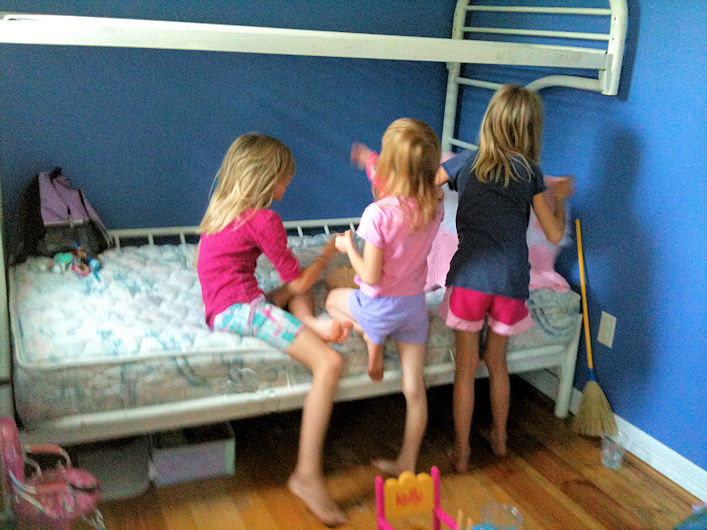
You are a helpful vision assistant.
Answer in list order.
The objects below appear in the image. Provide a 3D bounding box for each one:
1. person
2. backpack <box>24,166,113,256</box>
[{"bbox_3d":[0.111,0.192,2.074,1.314,1.549,0.818,-6,24,-14],"label":"person"},{"bbox_3d":[-1.164,-0.197,2.360,0.244,0.132,0.402,-13,67,-45],"label":"backpack"}]
